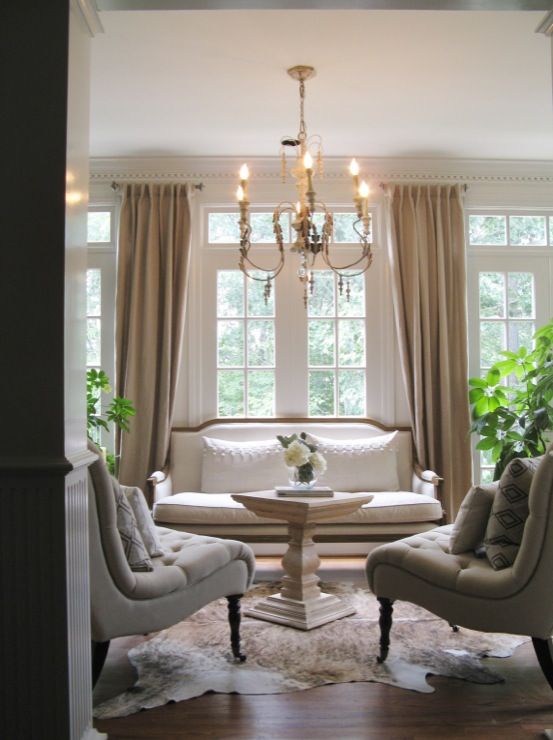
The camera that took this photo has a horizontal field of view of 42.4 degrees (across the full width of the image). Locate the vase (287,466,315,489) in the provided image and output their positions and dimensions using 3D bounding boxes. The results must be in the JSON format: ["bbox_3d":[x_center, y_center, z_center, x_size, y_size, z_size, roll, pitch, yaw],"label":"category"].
[{"bbox_3d":[0.139,0.542,3.671,0.138,0.112,0.211,1,8,6],"label":"vase"}]

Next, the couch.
[{"bbox_3d":[0.085,0.783,4.568,1.753,0.746,0.770,0,-1,0],"label":"couch"}]

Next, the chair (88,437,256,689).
[{"bbox_3d":[-0.466,0.694,3.094,0.964,1.040,0.767,1,-3,-28],"label":"chair"}]

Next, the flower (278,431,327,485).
[{"bbox_3d":[0.113,0.458,3.657,0.210,0.260,0.244,1,-2,-19],"label":"flower"}]

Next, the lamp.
[{"bbox_3d":[0.136,-0.926,3.609,0.776,1.090,0.652,6,20,24],"label":"lamp"}]

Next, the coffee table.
[{"bbox_3d":[0.138,0.921,3.604,0.619,0.546,0.611,-4,-8,34],"label":"coffee table"}]

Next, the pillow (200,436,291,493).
[{"bbox_3d":[-0.208,0.642,4.736,0.657,0.361,0.196,-2,-6,25],"label":"pillow"}]
